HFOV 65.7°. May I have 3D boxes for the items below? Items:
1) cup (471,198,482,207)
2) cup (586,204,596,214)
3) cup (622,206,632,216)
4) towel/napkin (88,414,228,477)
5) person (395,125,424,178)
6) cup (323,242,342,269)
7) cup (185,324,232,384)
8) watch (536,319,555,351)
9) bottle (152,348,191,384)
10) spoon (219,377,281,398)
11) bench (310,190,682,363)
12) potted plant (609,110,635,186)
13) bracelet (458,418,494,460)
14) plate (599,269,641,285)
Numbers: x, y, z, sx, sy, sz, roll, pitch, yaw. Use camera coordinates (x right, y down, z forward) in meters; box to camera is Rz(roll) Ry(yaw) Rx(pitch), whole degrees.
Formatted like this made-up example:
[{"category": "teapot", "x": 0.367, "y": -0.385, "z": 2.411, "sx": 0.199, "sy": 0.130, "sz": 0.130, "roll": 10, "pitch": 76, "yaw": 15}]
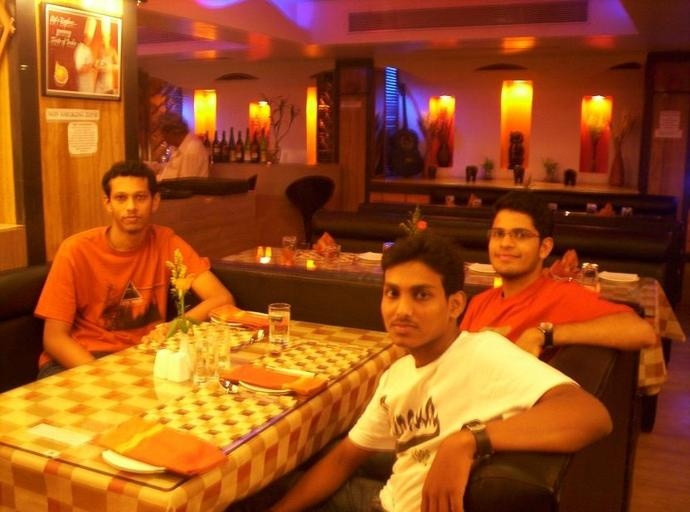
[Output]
[{"category": "cup", "x": 1.874, "y": -0.755, "z": 7.679, "sx": 0.163, "sy": 0.106, "sz": 0.163, "roll": -1, "pitch": 7, "yaw": 0}, {"category": "cup", "x": 3.385, "y": -0.647, "z": 7.413, "sx": 0.146, "sy": 0.138, "sz": 0.138, "roll": -2, "pitch": 17, "yaw": 1}, {"category": "cup", "x": 3.754, "y": -0.587, "z": 7.155, "sx": 0.149, "sy": 0.129, "sz": 0.185, "roll": 0, "pitch": 0, "yaw": 17}, {"category": "towel/napkin", "x": -0.497, "y": 0.517, "z": 1.439, "sx": 0.234, "sy": 0.036, "sz": 0.147, "roll": 10, "pitch": 15, "yaw": 26}, {"category": "person", "x": 1.088, "y": -1.731, "z": 9.084, "sx": 0.461, "sy": 0.779, "sz": 0.182, "roll": 1, "pitch": 14, "yaw": 2}, {"category": "cup", "x": -0.078, "y": 0.005, "z": 3.903, "sx": 0.161, "sy": 0.170, "sz": 0.160, "roll": 1, "pitch": 8, "yaw": 0}, {"category": "cup", "x": -0.515, "y": 0.376, "z": 2.052, "sx": 0.195, "sy": 0.175, "sz": 0.187, "roll": 1, "pitch": 9, "yaw": 0}, {"category": "watch", "x": 0.724, "y": 0.294, "z": 1.949, "sx": 0.060, "sy": 0.081, "sz": 0.089, "roll": 3, "pitch": 15, "yaw": 5}, {"category": "bottle", "x": -0.637, "y": 0.408, "z": 1.971, "sx": 0.190, "sy": 0.126, "sz": 0.103, "roll": 3, "pitch": 0, "yaw": 28}, {"category": "spoon", "x": -0.351, "y": 0.451, "z": 1.910, "sx": 0.246, "sy": 0.055, "sz": 0.074, "roll": 5, "pitch": -9, "yaw": 31}, {"category": "bench", "x": 0.882, "y": 0.092, "z": 3.049, "sx": 1.694, "sy": 0.972, "sz": 1.652, "roll": 4, "pitch": 8, "yaw": 20}, {"category": "potted plant", "x": 4.163, "y": -1.606, "z": 8.107, "sx": 0.322, "sy": 1.094, "sz": 0.382, "roll": 7, "pitch": 15, "yaw": 26}, {"category": "bracelet", "x": 0.335, "y": 0.467, "z": 1.375, "sx": 0.075, "sy": 0.084, "sz": 0.089, "roll": -15, "pitch": 35, "yaw": -6}, {"category": "plate", "x": 1.771, "y": 0.145, "z": 3.453, "sx": 0.185, "sy": 0.048, "sz": 0.143, "roll": 7, "pitch": 5, "yaw": 20}]
